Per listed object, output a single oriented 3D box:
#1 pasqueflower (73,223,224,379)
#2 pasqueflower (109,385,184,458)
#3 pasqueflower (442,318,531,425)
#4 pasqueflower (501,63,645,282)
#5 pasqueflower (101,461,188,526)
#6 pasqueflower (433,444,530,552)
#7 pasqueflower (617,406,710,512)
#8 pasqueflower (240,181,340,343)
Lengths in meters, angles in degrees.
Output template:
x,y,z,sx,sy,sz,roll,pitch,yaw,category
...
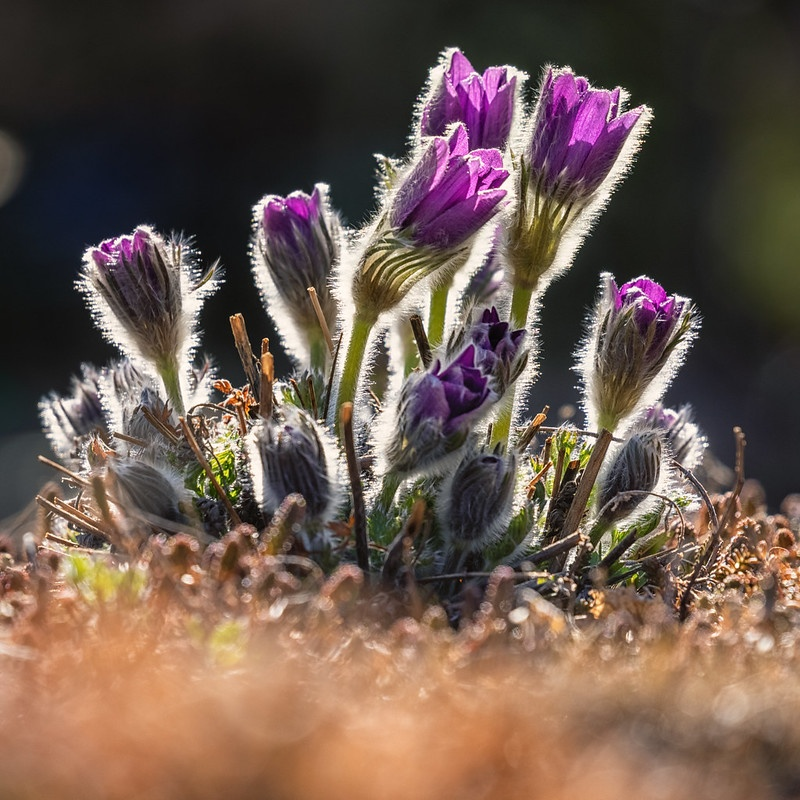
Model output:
x,y,z,sx,sy,sz,roll,pitch,yaw,category
-0.250,-0.091,1.284,0.097,0.114,0.093,-6,-5,-38,pasqueflower
-0.240,0.017,1.276,0.056,0.043,0.107,-6,41,-20,pasqueflower
0.087,-0.020,1.231,0.070,0.095,0.087,10,62,-14,pasqueflower
0.129,-0.212,1.282,0.099,0.217,0.114,-12,35,-42,pasqueflower
-0.217,0.078,1.178,0.067,0.041,0.041,0,37,-12,pasqueflower
0.064,0.082,1.204,0.065,0.082,0.053,10,35,3,pasqueflower
0.258,0.055,1.359,0.072,0.086,0.078,5,11,-5,pasqueflower
-0.103,-0.142,1.335,0.089,0.140,0.081,5,35,-4,pasqueflower
